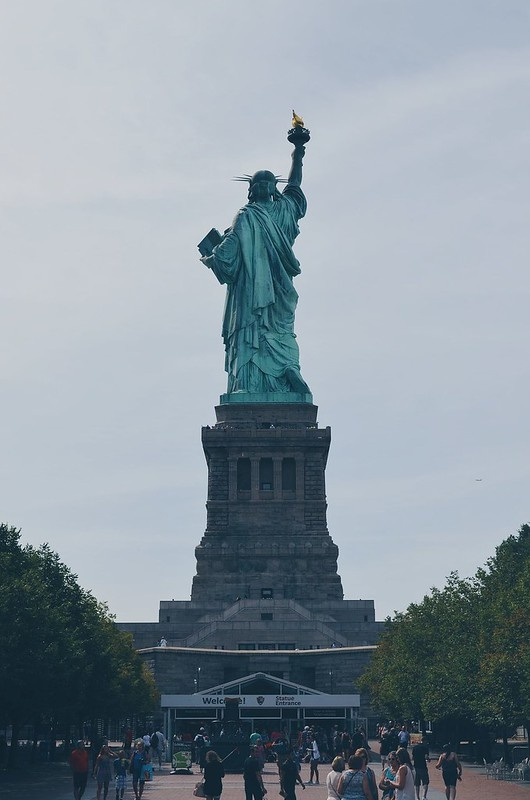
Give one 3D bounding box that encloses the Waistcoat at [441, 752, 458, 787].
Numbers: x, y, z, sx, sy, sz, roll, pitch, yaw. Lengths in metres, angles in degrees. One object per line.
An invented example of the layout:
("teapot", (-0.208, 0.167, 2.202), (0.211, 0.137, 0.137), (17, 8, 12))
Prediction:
("Waistcoat", (5.153, 10.147, 46.829), (0.514, 0.865, 0.962), (-3, -19, 7))
